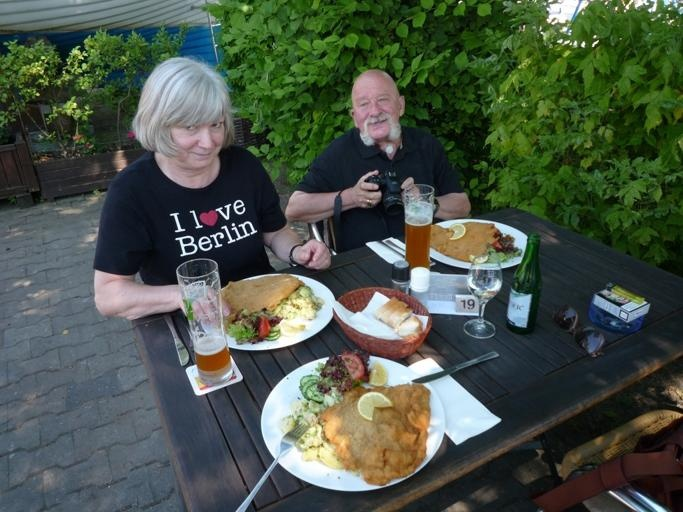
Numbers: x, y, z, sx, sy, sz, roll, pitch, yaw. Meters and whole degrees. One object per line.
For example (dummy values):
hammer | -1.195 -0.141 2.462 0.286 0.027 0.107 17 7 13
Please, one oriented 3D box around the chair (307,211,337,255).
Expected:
chair | -0.150 -0.188 3.765 0.243 0.334 0.326 -16 44 -20

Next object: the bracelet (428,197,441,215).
bracelet | 0.683 -0.365 3.172 0.065 0.162 0.123 0 -6 30

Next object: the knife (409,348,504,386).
knife | 0.542 0.525 2.067 0.484 0.022 0.070 -11 39 -22

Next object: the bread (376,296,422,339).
bread | 0.294 0.307 2.213 0.180 0.083 0.236 -13 23 -24

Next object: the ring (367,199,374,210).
ring | 0.222 -0.396 3.290 0.039 0.055 0.018 4 62 16

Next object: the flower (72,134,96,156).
flower | -4.625 -2.010 7.913 0.375 0.357 0.198 -9 11 -25

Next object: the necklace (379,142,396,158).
necklace | 0.401 -0.880 3.638 0.110 0.121 0.047 -1 6 3

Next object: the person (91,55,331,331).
person | -0.855 -0.438 2.874 1.057 1.474 1.578 24 33 33

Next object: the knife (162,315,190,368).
knife | -0.855 0.408 2.279 0.052 0.028 0.440 4 29 -35
